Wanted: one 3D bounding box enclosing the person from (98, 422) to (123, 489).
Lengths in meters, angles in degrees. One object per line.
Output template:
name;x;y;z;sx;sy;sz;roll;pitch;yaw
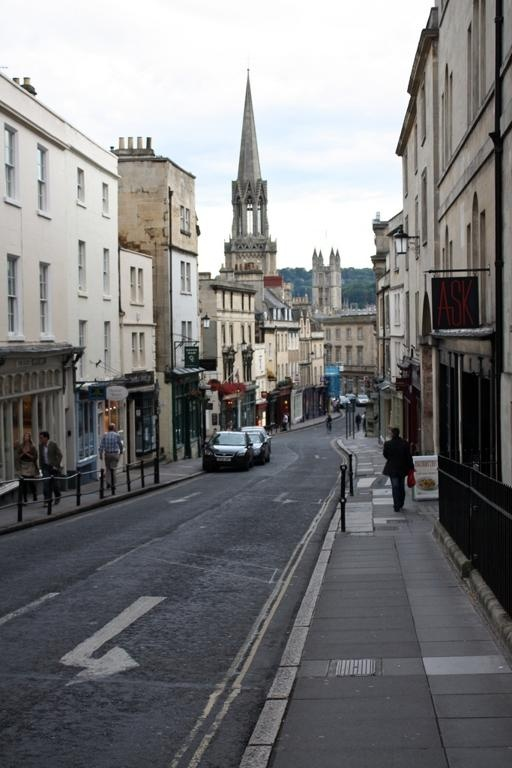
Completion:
person;-3.668;1.714;25.051;0.493;1.917;0.404;-4;31;-16

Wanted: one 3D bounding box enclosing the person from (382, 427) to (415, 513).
person;2.873;1.689;19.659;0.571;1.635;2.066;-1;-1;9
